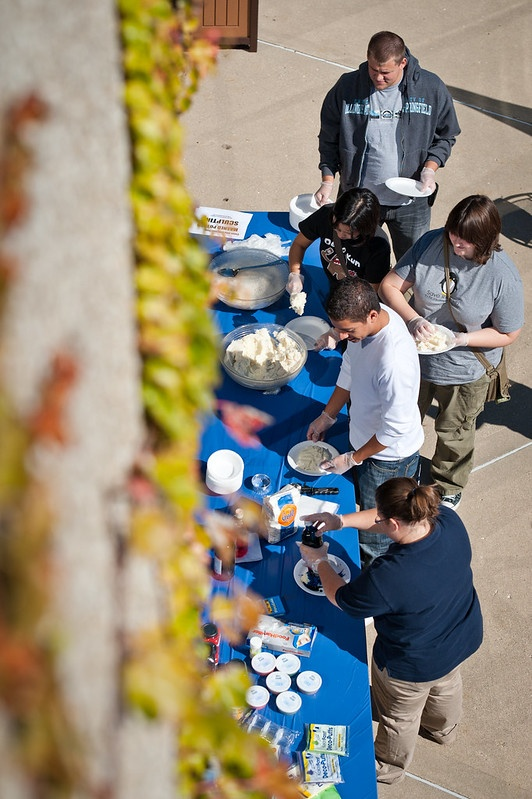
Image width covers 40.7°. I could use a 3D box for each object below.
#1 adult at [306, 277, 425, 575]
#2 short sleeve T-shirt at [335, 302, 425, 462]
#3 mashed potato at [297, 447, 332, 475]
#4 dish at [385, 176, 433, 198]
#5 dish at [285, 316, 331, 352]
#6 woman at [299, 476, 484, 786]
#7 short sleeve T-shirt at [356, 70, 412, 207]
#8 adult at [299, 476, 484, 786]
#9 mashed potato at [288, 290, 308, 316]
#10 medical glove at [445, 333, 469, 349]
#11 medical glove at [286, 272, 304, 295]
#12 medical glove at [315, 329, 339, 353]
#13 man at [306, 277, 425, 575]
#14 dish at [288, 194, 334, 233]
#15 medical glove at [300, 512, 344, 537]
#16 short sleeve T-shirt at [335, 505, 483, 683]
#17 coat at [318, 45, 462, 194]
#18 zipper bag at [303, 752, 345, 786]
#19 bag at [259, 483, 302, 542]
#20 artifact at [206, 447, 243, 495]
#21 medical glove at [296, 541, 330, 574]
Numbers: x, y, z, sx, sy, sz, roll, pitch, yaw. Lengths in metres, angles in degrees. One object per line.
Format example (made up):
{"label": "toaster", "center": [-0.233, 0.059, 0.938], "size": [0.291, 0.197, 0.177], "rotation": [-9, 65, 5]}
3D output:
{"label": "adult", "center": [0.447, 0.137, 3.212], "size": [0.516, 1.480, 0.487], "rotation": [-12, 57, -1]}
{"label": "short sleeve T-shirt", "center": [0.511, -0.067, 3.289], "size": [0.328, 0.574, 0.608], "rotation": [-15, 60, -1]}
{"label": "mashed potato", "center": [0.217, 0.279, 3.379], "size": [0.121, 0.032, 0.129], "rotation": [-3, 44, 0]}
{"label": "dish", "center": [0.893, -1.353, 4.577], "size": [0.196, 0.019, 0.188], "rotation": [18, 50, 13]}
{"label": "dish", "center": [0.240, -0.373, 4.115], "size": [0.220, 0.029, 0.208], "rotation": [23, 57, 6]}
{"label": "woman", "center": [0.460, 0.922, 2.776], "size": [0.759, 1.353, 0.553], "rotation": [34, 64, 32]}
{"label": "short sleeve T-shirt", "center": [0.731, -1.643, 4.579], "size": [0.376, 0.624, 0.169], "rotation": [7, 32, 17]}
{"label": "adult", "center": [0.460, 0.922, 2.776], "size": [0.759, 1.353, 0.553], "rotation": [34, 64, 32]}
{"label": "mashed potato", "center": [0.172, -0.529, 3.997], "size": [0.030, 0.114, 0.125], "rotation": [6, 24, 35]}
{"label": "medical glove", "center": [0.937, -0.296, 3.552], "size": [0.065, 0.094, 0.103], "rotation": [5, 11, 16]}
{"label": "medical glove", "center": [0.166, -0.672, 4.140], "size": [0.123, 0.136, 0.112], "rotation": [2, 25, 7]}
{"label": "medical glove", "center": [0.332, -0.314, 3.896], "size": [0.080, 0.134, 0.063], "rotation": [48, 30, -4]}
{"label": "man", "center": [0.447, 0.137, 3.212], "size": [0.516, 1.480, 0.487], "rotation": [-12, 57, -1]}
{"label": "dish", "center": [0.269, -1.250, 4.736], "size": [0.331, 0.179, 0.301], "rotation": [-6, 59, -2]}
{"label": "medical glove", "center": [0.237, 0.497, 2.989], "size": [0.232, 0.101, 0.105], "rotation": [-1, 26, 4]}
{"label": "short sleeve T-shirt", "center": [0.574, 0.726, 2.780], "size": [0.563, 0.614, 0.421], "rotation": [-29, 30, -30]}
{"label": "coat", "center": [0.792, -1.732, 4.632], "size": [0.897, 0.899, 0.374], "rotation": [4, 28, 1]}
{"label": "zipper bag", "center": [0.183, 1.210, 2.338], "size": [0.137, 0.061, 0.099], "rotation": [3, 27, -1]}
{"label": "bag", "center": [0.060, 0.480, 2.993], "size": [0.180, 0.201, 0.074], "rotation": [-30, 51, -28]}
{"label": "artifact", "center": [-0.189, 0.314, 3.175], "size": [0.179, 0.123, 0.172], "rotation": [-1, 64, -3]}
{"label": "medical glove", "center": [0.187, 0.617, 2.898], "size": [0.134, 0.122, 0.078], "rotation": [10, 39, 34]}
